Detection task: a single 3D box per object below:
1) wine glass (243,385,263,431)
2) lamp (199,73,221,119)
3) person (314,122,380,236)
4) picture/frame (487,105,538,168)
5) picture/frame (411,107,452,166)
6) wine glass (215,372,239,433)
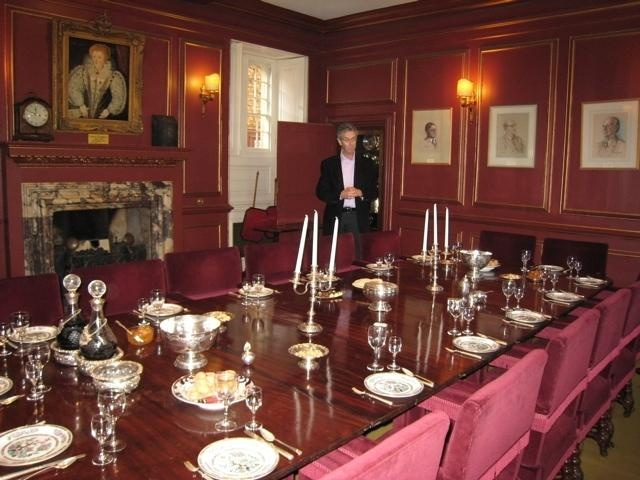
[{"bbox_3d":[-0.250,0.606,1.950,0.069,0.124,0.236,-1,13,-7],"label":"wine glass"},{"bbox_3d":[-1.264,-1.760,6.214,0.198,0.488,0.331,8,15,29],"label":"lamp"},{"bbox_3d":[0.288,-0.634,5.598,0.675,1.197,0.713,1,13,3],"label":"person"},{"bbox_3d":[2.164,-1.162,5.768,0.687,0.947,0.035,3,6,43],"label":"picture/frame"},{"bbox_3d":[1.397,-1.286,6.399,0.033,0.840,0.657,-11,14,-44],"label":"picture/frame"},{"bbox_3d":[-0.347,0.579,1.903,0.080,0.192,0.162,-1,13,-9],"label":"wine glass"}]
